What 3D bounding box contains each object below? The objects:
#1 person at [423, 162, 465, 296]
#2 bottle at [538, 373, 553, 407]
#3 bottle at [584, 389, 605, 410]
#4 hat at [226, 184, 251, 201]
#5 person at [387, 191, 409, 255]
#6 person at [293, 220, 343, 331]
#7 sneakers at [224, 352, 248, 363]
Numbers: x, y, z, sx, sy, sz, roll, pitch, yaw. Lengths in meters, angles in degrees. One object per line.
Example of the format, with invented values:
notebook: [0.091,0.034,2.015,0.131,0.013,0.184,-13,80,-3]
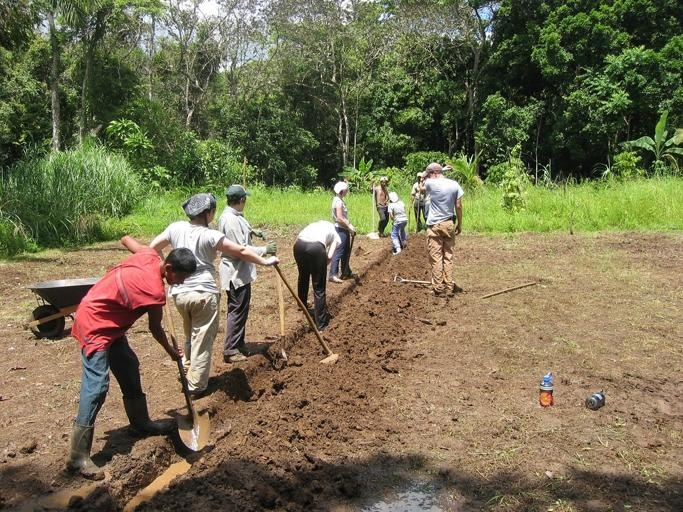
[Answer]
person: [2.068,-0.550,13.149,0.739,2.641,0.836,1,9,7]
bottle: [3.077,1.965,9.668,0.199,0.477,0.432,3,10,19]
bottle: [3.730,2.132,9.513,0.228,0.252,0.337,8,8,31]
hat: [-1.615,-0.973,10.121,0.221,0.196,0.324,8,23,26]
person: [1.456,-0.874,16.784,0.494,1.551,1.246,0,9,5]
person: [-0.454,0.388,11.268,0.726,1.939,0.544,-1,9,-2]
sneakers: [-1.693,1.620,10.170,0.387,0.184,0.138,-2,5,-4]
